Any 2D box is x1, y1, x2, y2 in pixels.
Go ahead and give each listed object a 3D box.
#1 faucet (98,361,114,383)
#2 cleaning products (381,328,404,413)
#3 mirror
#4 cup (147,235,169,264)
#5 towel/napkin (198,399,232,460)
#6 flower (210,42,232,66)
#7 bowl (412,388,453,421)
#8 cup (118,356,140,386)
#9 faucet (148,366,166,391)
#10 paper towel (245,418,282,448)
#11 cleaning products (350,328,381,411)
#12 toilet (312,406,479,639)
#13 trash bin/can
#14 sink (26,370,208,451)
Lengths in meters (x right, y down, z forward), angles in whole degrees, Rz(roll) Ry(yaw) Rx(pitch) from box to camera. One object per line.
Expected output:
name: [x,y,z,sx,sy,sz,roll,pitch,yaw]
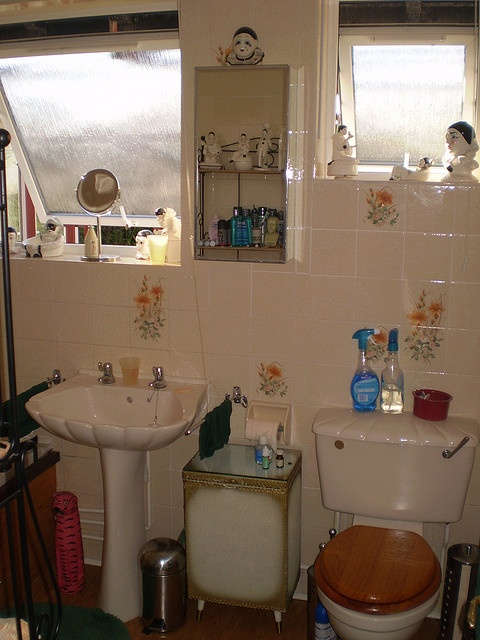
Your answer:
faucet: [-0.508,0.200,2.055,0.068,0.081,0.071,3,2,16]
cleaning products: [0.517,0.170,1.849,0.080,0.299,0.103,1,12,17]
mirror: [-0.589,-0.426,2.224,0.147,0.364,0.244,-9,13,-26]
cup: [-0.314,-0.283,2.184,0.099,0.126,0.105,-2,8,0]
towel/napkin: [-0.086,0.398,1.923,0.046,0.139,0.200,6,13,20]
flower: [-0.059,-0.897,1.843,0.072,0.074,0.073,-1,10,6]
bowl: [0.645,0.264,1.801,0.100,0.065,0.099,-1,21,0]
cup: [-0.411,0.193,2.025,0.091,0.099,0.092,-2,2,0]
faucet: [-0.302,0.223,2.022,0.061,0.086,0.080,2,6,17]
paper towel: [0.078,0.388,1.901,0.125,0.117,0.086,4,11,20]
cleaning products: [0.426,0.170,1.860,0.098,0.290,0.120,0,12,12]
toilet: [0.466,0.673,1.946,0.680,0.820,0.501,3,11,17]
trash bin/can: [-0.276,0.950,1.941,0.166,0.295,0.138,-5,12,-12]
sink: [-0.432,0.365,1.927,0.605,0.205,0.493,0,12,11]
